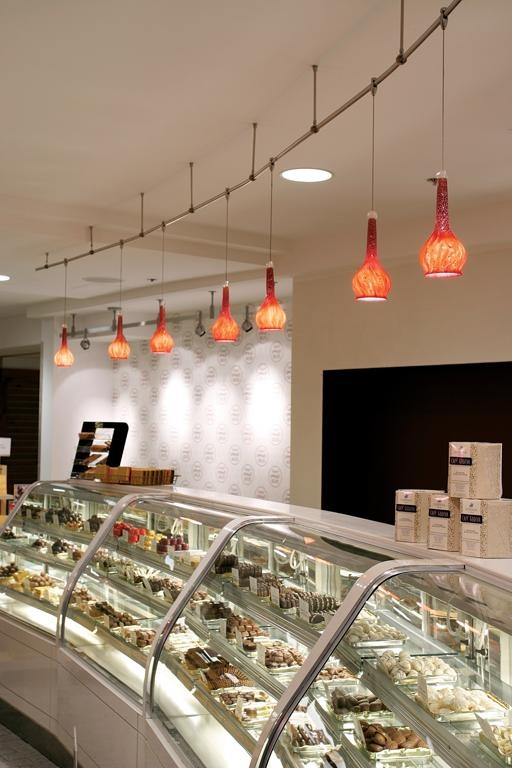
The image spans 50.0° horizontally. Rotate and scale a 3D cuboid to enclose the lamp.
[{"bbox_3d":[-0.441,-0.968,4.276,0.995,1.395,5.214,3,-3,-36],"label":"lamp"}]
